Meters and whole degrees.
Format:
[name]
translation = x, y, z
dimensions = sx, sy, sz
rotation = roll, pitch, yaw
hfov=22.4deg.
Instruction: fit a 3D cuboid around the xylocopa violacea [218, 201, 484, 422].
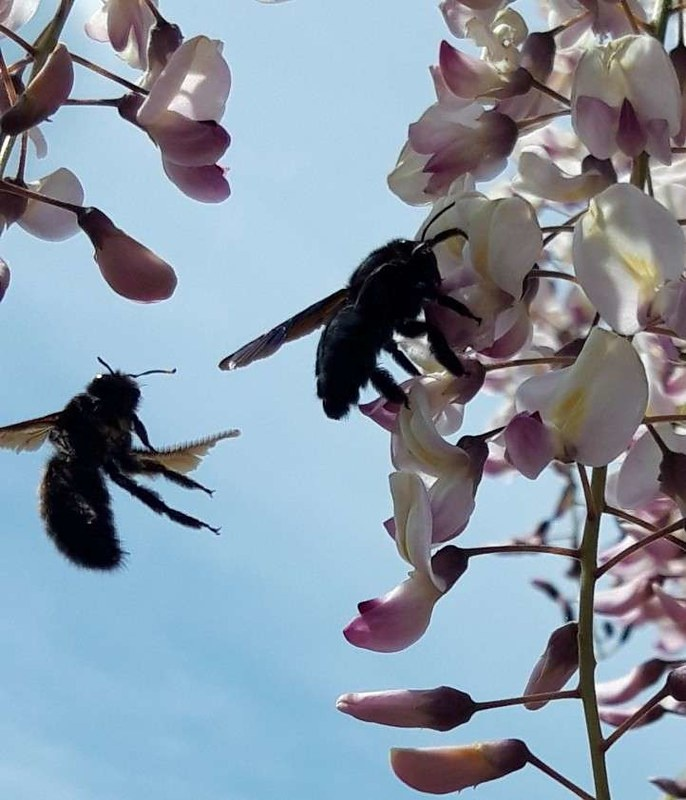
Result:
[xylocopa violacea]
translation = 0.044, -0.077, 1.843
dimensions = 0.313, 0.218, 0.139
rotation = -34, -103, 15
